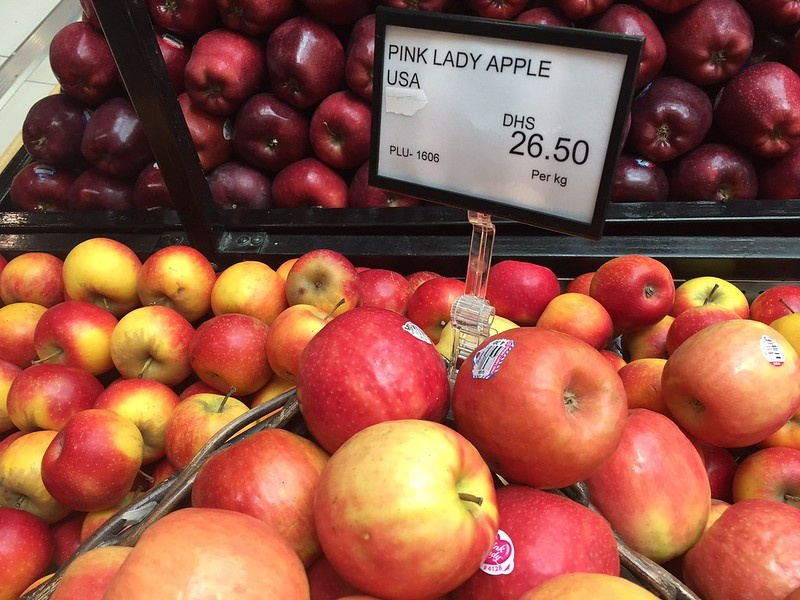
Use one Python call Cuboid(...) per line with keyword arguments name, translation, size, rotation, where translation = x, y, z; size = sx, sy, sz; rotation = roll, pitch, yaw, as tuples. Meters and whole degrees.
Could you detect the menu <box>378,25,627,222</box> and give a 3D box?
Cuboid(name="menu", translation=(0.209, -0.375, 1.339), size=(0.335, 0.276, 0.018), rotation=(19, 26, 27))
